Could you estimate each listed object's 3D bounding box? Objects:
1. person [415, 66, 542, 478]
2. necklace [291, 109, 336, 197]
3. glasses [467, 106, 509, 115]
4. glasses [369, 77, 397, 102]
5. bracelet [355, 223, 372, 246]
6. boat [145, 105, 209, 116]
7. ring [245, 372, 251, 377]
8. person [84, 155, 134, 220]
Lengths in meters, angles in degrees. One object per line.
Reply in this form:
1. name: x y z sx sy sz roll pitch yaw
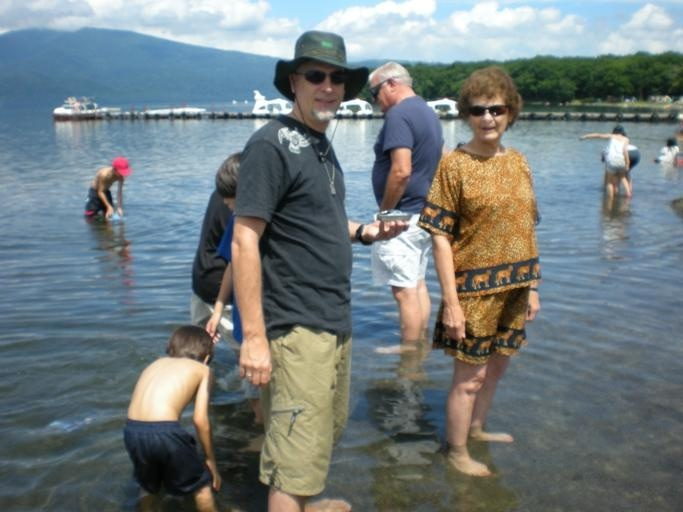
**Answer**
1. person: 1.168 0.166 5.934 1.003 3.484 0.533 -5 13 -19
2. necklace: -0.148 -0.795 5.328 0.206 0.627 0.452 -25 -32 34
3. glasses: 1.211 -1.204 5.724 0.298 0.091 0.086 2 12 12
4. glasses: 0.440 -1.885 7.817 0.206 0.061 0.203 -23 1 -6
5. bracelet: 0.204 -0.180 5.958 0.060 0.158 0.166 -10 39 -16
6. boat: -23.828 -20.570 97.780 5.760 1.094 35.236 -4 12 -16
7. ring: -0.681 0.867 5.085 0.055 0.049 0.007 7 14 32
8. person: -5.049 -1.471 14.909 0.672 1.308 1.147 -11 16 -41
